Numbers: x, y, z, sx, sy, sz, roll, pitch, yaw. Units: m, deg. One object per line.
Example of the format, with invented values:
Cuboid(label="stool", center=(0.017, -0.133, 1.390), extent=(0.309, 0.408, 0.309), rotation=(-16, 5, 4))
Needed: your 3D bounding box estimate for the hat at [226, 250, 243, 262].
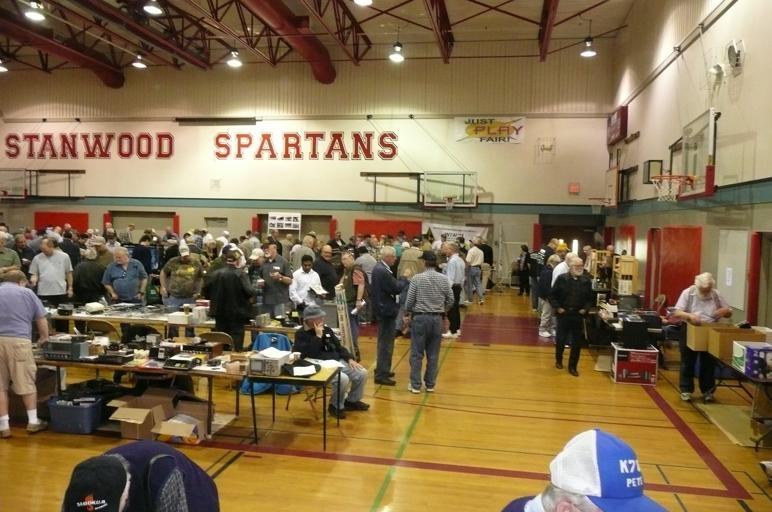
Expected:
Cuboid(label="hat", center=(-2.661, -0.022, 10.734), extent=(0.123, 0.208, 0.280), rotation=(0, 2, 42))

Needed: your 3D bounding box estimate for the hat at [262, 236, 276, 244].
Cuboid(label="hat", center=(-3.200, -0.483, 16.707), extent=(0.416, 0.143, 0.419), rotation=(1, 4, 11))

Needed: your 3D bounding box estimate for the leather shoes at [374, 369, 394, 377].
Cuboid(label="leather shoes", center=(-0.034, 2.205, 11.559), extent=(0.433, 0.184, 0.148), rotation=(-1, 2, -2))

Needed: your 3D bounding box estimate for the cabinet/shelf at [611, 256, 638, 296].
Cuboid(label="cabinet/shelf", center=(5.593, 0.466, 14.353), extent=(0.384, 0.912, 0.966), rotation=(1, 1, 5))

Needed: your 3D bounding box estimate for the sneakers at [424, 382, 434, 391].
Cuboid(label="sneakers", center=(0.803, 2.391, 11.170), extent=(0.178, 0.180, 0.123), rotation=(-2, 2, -9))

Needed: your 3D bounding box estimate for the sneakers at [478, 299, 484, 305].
Cuboid(label="sneakers", center=(2.901, 1.347, 18.698), extent=(0.127, 0.166, 0.164), rotation=(-11, -34, 6))

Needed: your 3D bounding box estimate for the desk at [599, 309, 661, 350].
Cuboid(label="desk", center=(4.852, 1.392, 11.834), extent=(0.850, 0.484, 1.216), rotation=(0, 2, 11))

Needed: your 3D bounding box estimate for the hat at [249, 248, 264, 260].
Cuboid(label="hat", center=(-2.569, -0.069, 12.207), extent=(0.251, 0.184, 0.371), rotation=(0, 1, 5))

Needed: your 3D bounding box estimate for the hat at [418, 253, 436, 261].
Cuboid(label="hat", center=(0.763, -0.022, 11.014), extent=(0.248, 0.171, 0.329), rotation=(-2, 2, -22))

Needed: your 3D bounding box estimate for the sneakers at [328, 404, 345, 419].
Cuboid(label="sneakers", center=(-0.816, 2.601, 10.252), extent=(0.286, 0.279, 0.147), rotation=(1, 3, 21))

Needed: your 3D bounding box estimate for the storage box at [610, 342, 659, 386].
Cuboid(label="storage box", center=(4.792, 2.134, 11.882), extent=(0.744, 0.660, 0.745), rotation=(4, -29, 8))

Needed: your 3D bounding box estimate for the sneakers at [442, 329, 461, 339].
Cuboid(label="sneakers", center=(1.533, 1.842, 14.466), extent=(0.491, 0.198, 0.177), rotation=(2, -3, -4))

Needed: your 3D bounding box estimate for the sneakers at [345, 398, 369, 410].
Cuboid(label="sneakers", center=(-0.515, 2.539, 10.514), extent=(0.467, 0.213, 0.161), rotation=(0, 2, 4))

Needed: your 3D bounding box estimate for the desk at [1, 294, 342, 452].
Cuboid(label="desk", center=(-3.421, 1.839, 9.663), extent=(5.056, 2.323, 0.885), rotation=(-1, 2, 3))

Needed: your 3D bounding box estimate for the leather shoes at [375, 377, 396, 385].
Cuboid(label="leather shoes", center=(-0.025, 2.346, 11.509), extent=(0.382, 0.161, 0.142), rotation=(-1, -3, 8))

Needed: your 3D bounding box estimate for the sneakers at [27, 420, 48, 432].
Cuboid(label="sneakers", center=(-5.489, 2.679, 9.664), extent=(0.130, 0.156, 0.347), rotation=(3, 5, 25))

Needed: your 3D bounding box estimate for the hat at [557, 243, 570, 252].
Cuboid(label="hat", center=(4.850, -0.279, 16.756), extent=(0.303, 0.309, 0.194), rotation=(3, 16, -26))

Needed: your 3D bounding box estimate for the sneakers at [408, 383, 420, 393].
Cuboid(label="sneakers", center=(0.517, 2.407, 11.125), extent=(0.222, 0.157, 0.153), rotation=(-1, 2, 1))

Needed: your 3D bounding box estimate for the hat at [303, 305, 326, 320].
Cuboid(label="hat", center=(-1.197, 0.907, 9.937), extent=(0.271, 0.106, 0.231), rotation=(-7, 1, 31))
